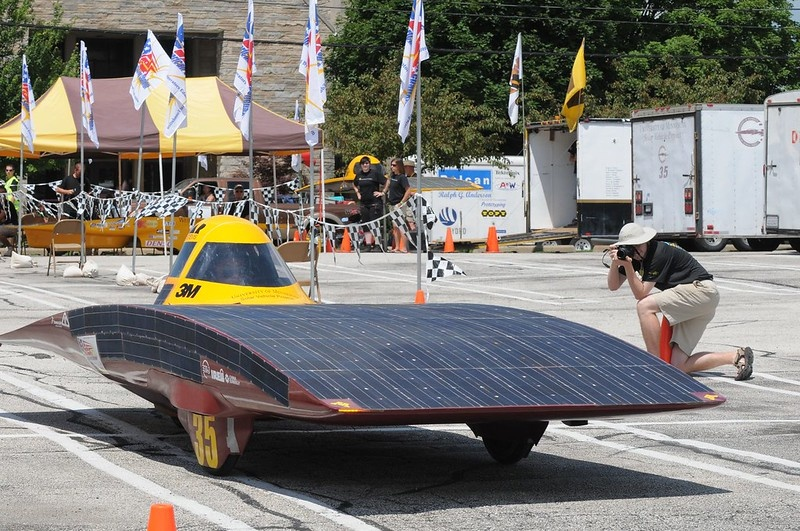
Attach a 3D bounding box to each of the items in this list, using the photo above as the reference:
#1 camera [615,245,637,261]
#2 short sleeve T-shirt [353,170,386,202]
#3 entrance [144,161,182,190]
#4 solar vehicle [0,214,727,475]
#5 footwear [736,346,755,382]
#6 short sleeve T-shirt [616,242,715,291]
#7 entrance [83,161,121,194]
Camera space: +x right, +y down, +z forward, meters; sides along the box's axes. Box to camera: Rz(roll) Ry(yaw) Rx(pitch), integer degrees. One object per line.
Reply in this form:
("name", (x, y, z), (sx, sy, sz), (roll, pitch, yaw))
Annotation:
("camera", (3.339, -0.170, 21.472), (0.265, 0.221, 0.250), (-18, -14, 16))
("short sleeve T-shirt", (-0.790, -1.979, 36.655), (1.038, 0.832, 0.508), (-2, 10, 23))
("entrance", (-10.115, -3.801, 61.617), (1.689, 1.664, 0.216), (-2, -21, -1))
("solar vehicle", (-0.578, 1.173, 18.904), (7.875, 2.800, 3.532), (5, 11, 22))
("footwear", (5.253, 1.501, 22.136), (0.314, 0.548, 0.244), (-2, 6, 18))
("short sleeve T-shirt", (4.031, 0.042, 21.804), (1.008, 0.338, 0.923), (7, 15, -15))
("entrance", (-12.381, -3.783, 62.713), (2.350, 1.408, 1.276), (0, 2, 41))
